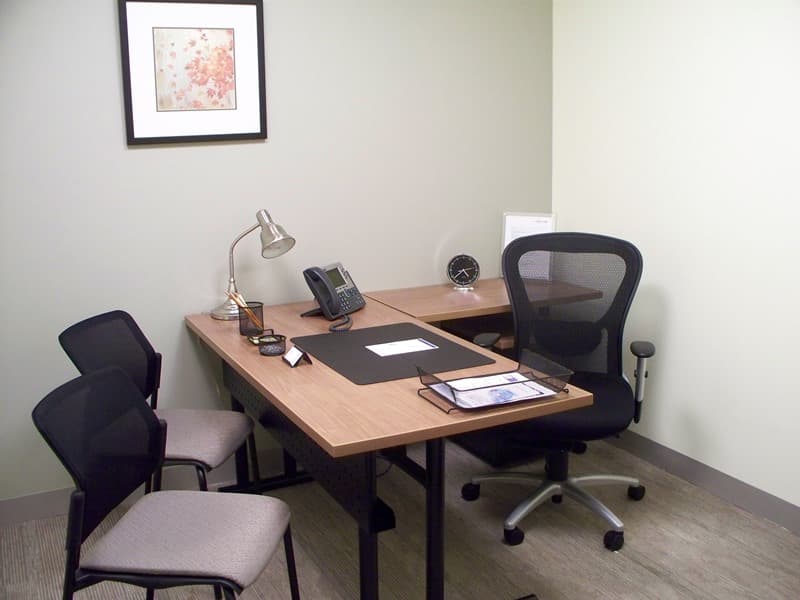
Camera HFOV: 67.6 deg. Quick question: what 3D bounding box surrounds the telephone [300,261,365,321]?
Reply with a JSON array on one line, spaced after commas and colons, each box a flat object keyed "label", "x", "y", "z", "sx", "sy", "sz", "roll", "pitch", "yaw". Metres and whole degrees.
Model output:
[{"label": "telephone", "x": -0.339, "y": -0.050, "z": 2.982, "sx": 0.234, "sy": 0.246, "sz": 0.293, "roll": 3, "pitch": 14, "yaw": 23}]
